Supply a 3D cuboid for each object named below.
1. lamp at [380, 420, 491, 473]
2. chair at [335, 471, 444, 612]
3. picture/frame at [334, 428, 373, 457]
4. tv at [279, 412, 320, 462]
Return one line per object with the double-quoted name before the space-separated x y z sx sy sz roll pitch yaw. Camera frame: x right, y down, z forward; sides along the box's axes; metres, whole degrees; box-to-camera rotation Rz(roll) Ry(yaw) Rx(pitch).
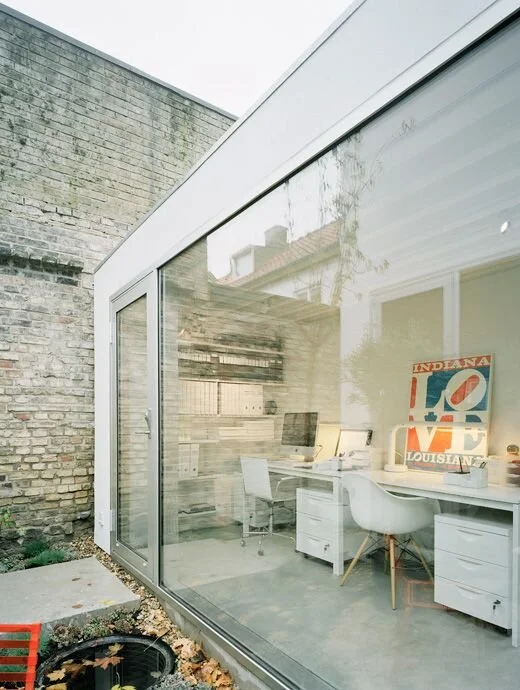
"lamp" 0.440 0.267 1.349 0.050 0.133 0.338 3 -8 -23
"chair" 0.354 0.529 1.541 0.297 0.386 0.304 4 -7 -31
"picture/frame" 0.287 0.303 1.618 0.011 0.091 0.179 4 -8 -25
"tv" 0.123 0.333 1.898 0.048 0.184 0.219 -2 -11 40
